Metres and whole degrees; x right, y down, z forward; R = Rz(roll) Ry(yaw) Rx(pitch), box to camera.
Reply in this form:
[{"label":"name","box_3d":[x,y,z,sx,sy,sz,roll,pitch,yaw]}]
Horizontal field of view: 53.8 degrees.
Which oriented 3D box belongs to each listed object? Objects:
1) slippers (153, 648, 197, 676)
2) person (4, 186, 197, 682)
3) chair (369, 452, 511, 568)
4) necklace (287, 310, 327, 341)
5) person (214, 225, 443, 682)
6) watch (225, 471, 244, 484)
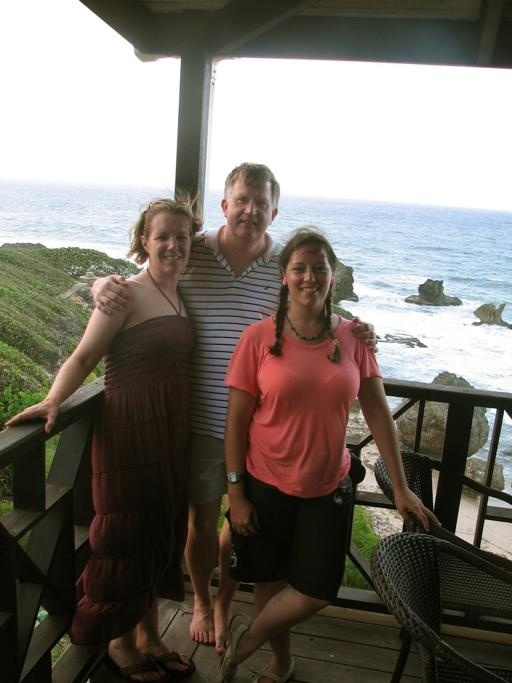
[{"label":"slippers","box_3d":[-0.264,1.060,1.646,0.134,0.034,0.062,5,11,34]},{"label":"person","box_3d":[-0.381,0.244,1.478,0.331,1.305,0.544,6,14,8]},{"label":"chair","box_3d":[0.523,0.457,1.478,0.286,0.343,0.291,0,15,19]},{"label":"necklace","box_3d":[0.133,-0.031,1.375,0.118,0.052,0.066,6,13,10]},{"label":"person","box_3d":[0.176,0.430,1.475,0.562,1.473,0.363,4,14,1]},{"label":"watch","box_3d":[-0.070,0.404,1.500,0.042,0.031,0.043,-1,-14,9]}]
